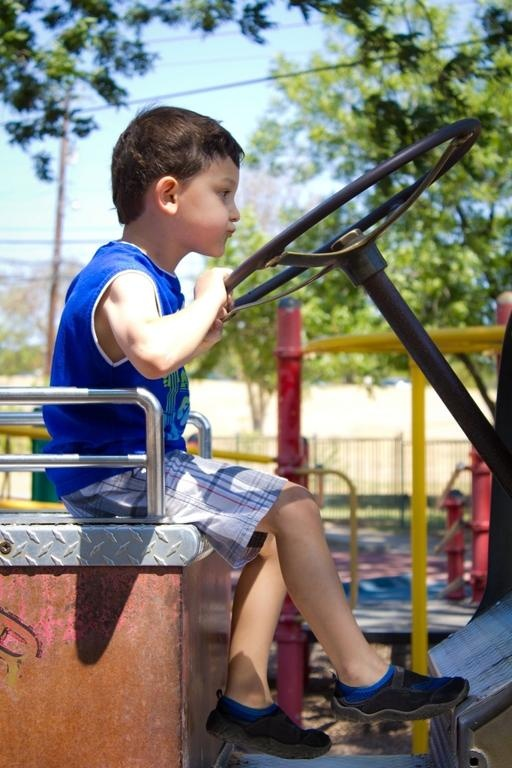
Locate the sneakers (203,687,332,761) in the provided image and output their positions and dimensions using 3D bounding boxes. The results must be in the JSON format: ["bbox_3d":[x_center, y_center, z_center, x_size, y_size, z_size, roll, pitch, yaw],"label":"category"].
[{"bbox_3d":[0.018,0.647,2.454,0.269,0.095,0.094,9,-8,5],"label":"sneakers"}]

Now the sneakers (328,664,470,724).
[{"bbox_3d":[0.273,0.572,2.370,0.272,0.097,0.092,-3,-3,6],"label":"sneakers"}]

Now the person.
[{"bbox_3d":[-0.031,0.080,2.478,0.806,1.221,0.457,1,10,8],"label":"person"}]
